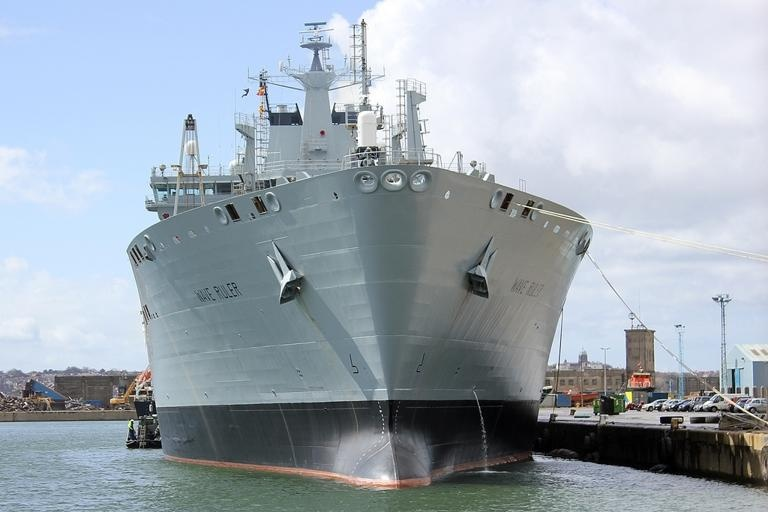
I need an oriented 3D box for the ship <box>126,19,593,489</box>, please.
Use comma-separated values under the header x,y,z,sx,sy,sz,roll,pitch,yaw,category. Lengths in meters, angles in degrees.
x,y,z,sx,sy,sz,roll,pitch,yaw,category
-2.782,1.828,34.242,10.641,11.000,22.933,1,-3,-12,ship
